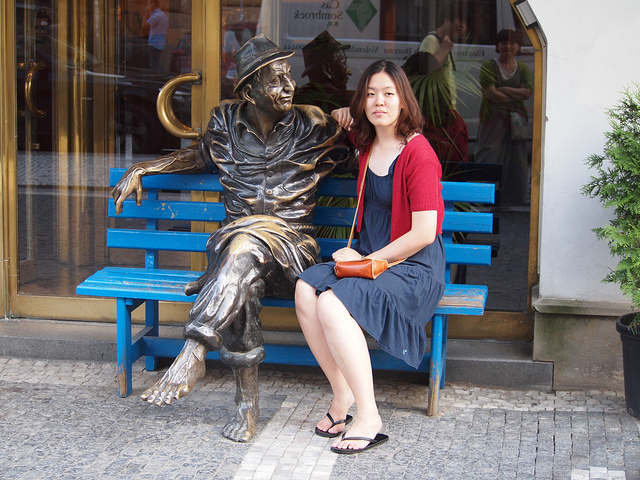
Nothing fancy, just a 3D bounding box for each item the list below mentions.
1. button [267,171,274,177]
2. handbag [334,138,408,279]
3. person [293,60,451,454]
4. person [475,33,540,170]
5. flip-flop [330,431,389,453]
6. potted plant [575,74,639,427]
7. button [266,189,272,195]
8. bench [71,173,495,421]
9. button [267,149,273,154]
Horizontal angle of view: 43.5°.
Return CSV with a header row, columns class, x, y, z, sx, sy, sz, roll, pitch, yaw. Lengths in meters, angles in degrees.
class,x,y,z,sx,sy,sz,roll,pitch,yaw
button,-0.289,-0.380,4.638,0.030,0.031,0.007,0,6,-5
handbag,0.297,-0.179,4.432,0.321,0.694,0.343,7,19,23
person,0.294,0.068,4.291,0.551,2.005,0.753,8,13,41
person,1.227,-0.907,5.209,0.406,0.857,0.134,8,14,41
flip-flop,0.222,1.068,4.221,0.258,0.063,0.110,-4,8,-31
potted plant,1.720,0.029,4.595,0.345,1.918,0.634,-1,10,-2
button,-0.293,-0.276,4.614,0.031,0.031,0.008,2,-2,-2
bench,-0.218,0.318,4.875,2.481,1.214,0.929,2,7,5
button,-0.291,-0.512,4.630,0.028,0.026,0.008,2,-7,9
